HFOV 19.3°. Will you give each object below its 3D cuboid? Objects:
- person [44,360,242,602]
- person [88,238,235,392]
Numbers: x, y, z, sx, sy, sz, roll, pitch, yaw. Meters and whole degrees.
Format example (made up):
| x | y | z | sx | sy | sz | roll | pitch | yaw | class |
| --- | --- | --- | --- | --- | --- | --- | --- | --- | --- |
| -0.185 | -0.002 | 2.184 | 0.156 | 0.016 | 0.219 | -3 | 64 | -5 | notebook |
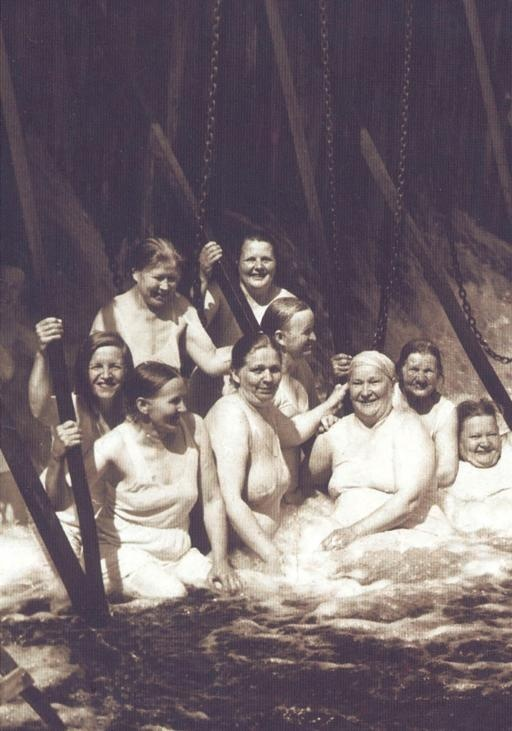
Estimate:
| x | y | z | sx | sy | sz | roll | pitch | yaw | class |
| --- | --- | --- | --- | --- | --- | --- | --- | --- | --- |
| -0.784 | 0.829 | 10.809 | 0.996 | 1.742 | 0.937 | -3 | 31 | -3 | person |
| -0.671 | -0.310 | 10.824 | 1.106 | 1.259 | 0.756 | -9 | 33 | -19 | person |
